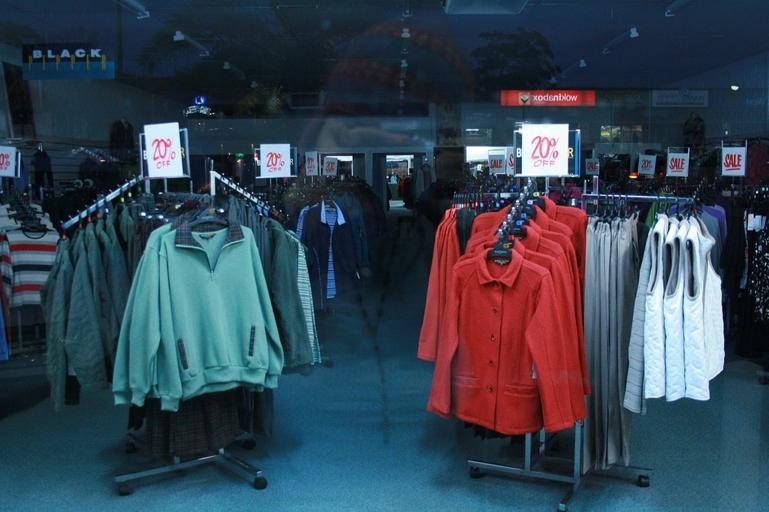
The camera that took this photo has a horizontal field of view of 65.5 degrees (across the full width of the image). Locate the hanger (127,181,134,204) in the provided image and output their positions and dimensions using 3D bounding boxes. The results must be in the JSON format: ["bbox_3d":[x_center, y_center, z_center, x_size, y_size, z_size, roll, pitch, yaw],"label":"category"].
[{"bbox_3d":[-2.253,-0.577,5.308,0.066,0.139,0.855,-2,9,-22],"label":"hanger"}]

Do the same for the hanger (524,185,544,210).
[{"bbox_3d":[1.113,-0.428,4.413,0.132,0.178,0.067,-3,-5,15],"label":"hanger"}]

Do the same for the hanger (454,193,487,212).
[{"bbox_3d":[0.670,-0.448,4.875,0.190,0.142,0.372,-5,10,-37],"label":"hanger"}]

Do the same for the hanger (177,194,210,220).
[{"bbox_3d":[-1.469,-0.393,4.566,0.186,0.069,0.268,0,30,9],"label":"hanger"}]

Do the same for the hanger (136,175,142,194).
[{"bbox_3d":[-2.121,-0.622,5.147,0.059,0.167,0.125,-1,1,-21],"label":"hanger"}]

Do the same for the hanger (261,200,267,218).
[{"bbox_3d":[-1.032,-0.400,5.154,0.038,0.112,0.113,-9,-29,-30],"label":"hanger"}]

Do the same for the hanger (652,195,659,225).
[{"bbox_3d":[2.069,-0.352,4.558,0.023,0.062,0.243,8,-15,24],"label":"hanger"}]

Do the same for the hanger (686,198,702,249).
[{"bbox_3d":[2.182,-0.250,4.223,0.104,0.269,0.281,5,9,27],"label":"hanger"}]

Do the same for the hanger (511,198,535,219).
[{"bbox_3d":[1.026,-0.336,4.314,0.141,0.139,0.039,2,-11,14],"label":"hanger"}]

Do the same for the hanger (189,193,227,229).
[{"bbox_3d":[-1.334,-0.333,4.538,0.253,0.231,0.469,-2,8,-18],"label":"hanger"}]

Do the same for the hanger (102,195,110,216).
[{"bbox_3d":[-2.277,-0.419,4.872,0.072,0.150,0.179,-3,9,-25],"label":"hanger"}]
